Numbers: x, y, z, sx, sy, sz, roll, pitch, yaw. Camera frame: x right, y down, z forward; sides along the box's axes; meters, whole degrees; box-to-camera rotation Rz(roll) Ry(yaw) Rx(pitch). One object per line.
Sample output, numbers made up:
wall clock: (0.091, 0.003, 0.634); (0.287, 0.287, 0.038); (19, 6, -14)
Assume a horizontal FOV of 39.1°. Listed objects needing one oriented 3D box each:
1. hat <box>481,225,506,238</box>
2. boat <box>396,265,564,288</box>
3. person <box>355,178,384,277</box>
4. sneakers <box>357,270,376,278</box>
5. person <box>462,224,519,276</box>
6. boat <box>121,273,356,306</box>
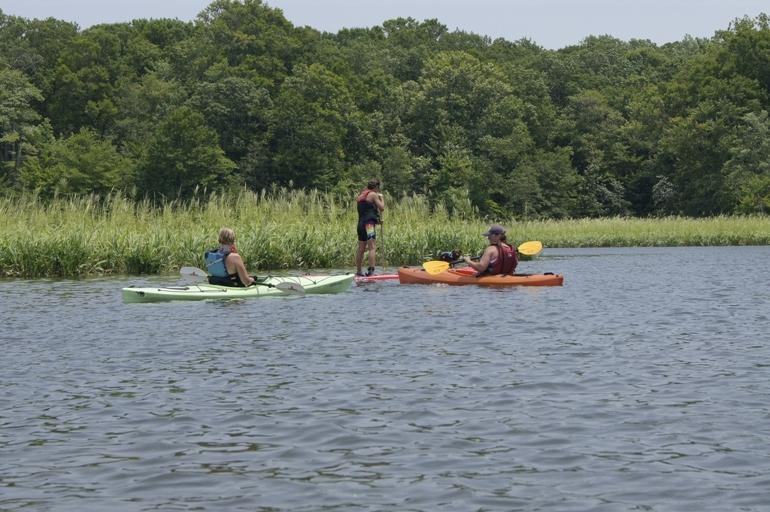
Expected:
hat: (2.101, -0.500, 21.183); (0.429, 0.161, 0.250); (3, 3, 7)
boat: (1.761, 0.442, 21.770); (3.209, 0.409, 0.984); (-1, -1, 27)
person: (-0.350, -0.615, 22.994); (0.705, 2.017, 0.931); (-5, 6, -1)
sneakers: (-0.425, 0.377, 22.929); (0.445, 0.149, 0.133); (-10, 15, -42)
person: (2.123, -0.129, 21.405); (0.844, 1.008, 0.644); (-4, 6, 5)
boat: (-2.039, 0.621, 20.327); (5.874, 0.592, 1.208); (0, 1, -17)
